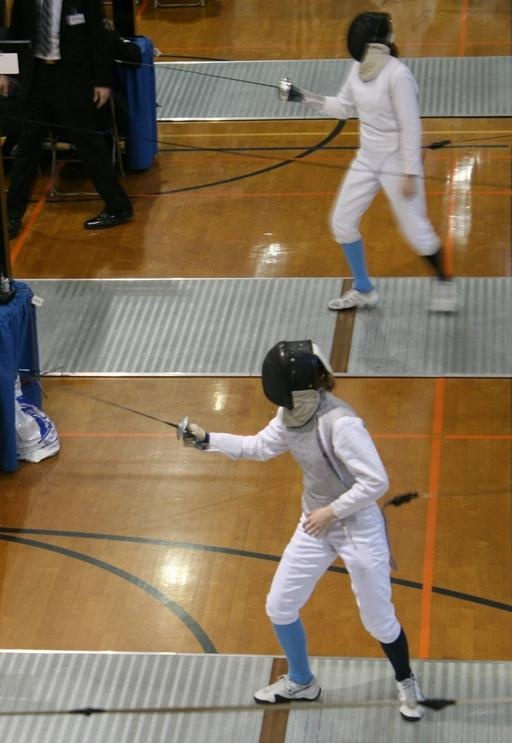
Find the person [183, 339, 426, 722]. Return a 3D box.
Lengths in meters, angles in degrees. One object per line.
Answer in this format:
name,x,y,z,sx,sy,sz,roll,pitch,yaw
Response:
person,0.103,0.445,1.849,0.623,0.994,0.400,0,6,18

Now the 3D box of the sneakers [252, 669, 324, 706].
sneakers,0.096,0.943,2.091,0.213,0.091,0.080,-1,-6,2

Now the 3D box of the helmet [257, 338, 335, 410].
helmet,0.099,0.014,1.800,0.156,0.176,0.151,6,34,19

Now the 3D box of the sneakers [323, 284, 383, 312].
sneakers,0.587,-0.426,4.252,0.355,0.146,0.119,-4,58,4

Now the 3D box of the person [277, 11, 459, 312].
person,0.637,-1.121,3.921,0.785,1.629,0.397,-4,33,5

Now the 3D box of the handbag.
handbag,-1.102,0.258,3.469,0.290,0.442,0.207,-10,39,-12

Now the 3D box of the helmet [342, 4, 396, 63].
helmet,0.582,-1.679,3.508,0.237,0.241,0.284,-1,32,10

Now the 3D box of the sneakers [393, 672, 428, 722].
sneakers,0.436,0.905,1.985,0.067,0.064,0.167,-13,23,8
